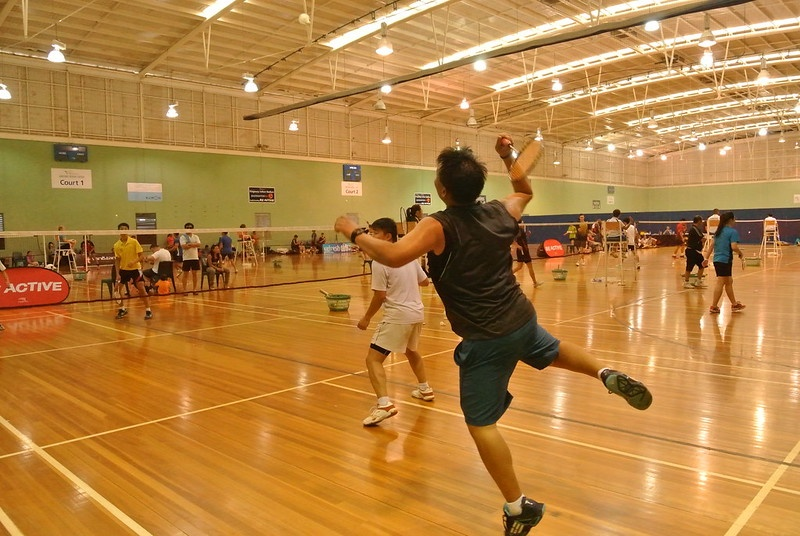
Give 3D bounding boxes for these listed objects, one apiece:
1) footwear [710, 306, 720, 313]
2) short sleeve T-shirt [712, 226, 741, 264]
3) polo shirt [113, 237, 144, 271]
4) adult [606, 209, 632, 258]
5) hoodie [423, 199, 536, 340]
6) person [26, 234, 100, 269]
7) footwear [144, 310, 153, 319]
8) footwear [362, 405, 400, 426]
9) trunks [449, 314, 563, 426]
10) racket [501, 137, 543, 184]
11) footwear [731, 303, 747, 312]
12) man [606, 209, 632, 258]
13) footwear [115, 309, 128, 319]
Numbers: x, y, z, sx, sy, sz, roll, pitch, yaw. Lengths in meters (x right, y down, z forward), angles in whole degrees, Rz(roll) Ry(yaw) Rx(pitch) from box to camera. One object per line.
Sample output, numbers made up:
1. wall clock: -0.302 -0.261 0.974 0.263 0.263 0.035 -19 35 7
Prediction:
1. footwear: 5.650 0.736 10.303 0.271 0.123 0.097 -2 5 -41
2. short sleeve T-shirt: 5.726 -0.423 10.070 0.379 0.661 0.319 1 7 20
3. polo shirt: -5.272 -0.294 11.138 0.597 0.647 0.272 1 7 20
4. adult: 5.952 -0.881 15.715 0.565 1.102 1.976 1 -1 27
5. hoodie: 0.614 0.005 4.338 0.759 1.034 0.378 -4 7 -21
6. person: -11.964 -0.600 20.229 2.209 1.280 1.425 3 1 16
7. footwear: -4.738 0.851 10.835 0.121 0.207 0.375 -5 7 -23
8. footwear: -0.197 1.539 5.982 0.406 0.171 0.148 -28 -16 -12
9. trunks: 0.923 0.929 4.932 0.930 0.863 0.362 -31 34 -15
10. racket: 1.047 -0.878 4.744 0.362 0.109 0.269 16 55 32
11. footwear: 6.114 0.712 10.333 0.337 0.167 0.126 -3 3 -38
12. man: 6.035 -1.068 15.830 0.661 1.273 2.265 5 11 29
13. footwear: -5.373 0.878 11.090 0.120 0.158 0.350 -1 -5 -7
